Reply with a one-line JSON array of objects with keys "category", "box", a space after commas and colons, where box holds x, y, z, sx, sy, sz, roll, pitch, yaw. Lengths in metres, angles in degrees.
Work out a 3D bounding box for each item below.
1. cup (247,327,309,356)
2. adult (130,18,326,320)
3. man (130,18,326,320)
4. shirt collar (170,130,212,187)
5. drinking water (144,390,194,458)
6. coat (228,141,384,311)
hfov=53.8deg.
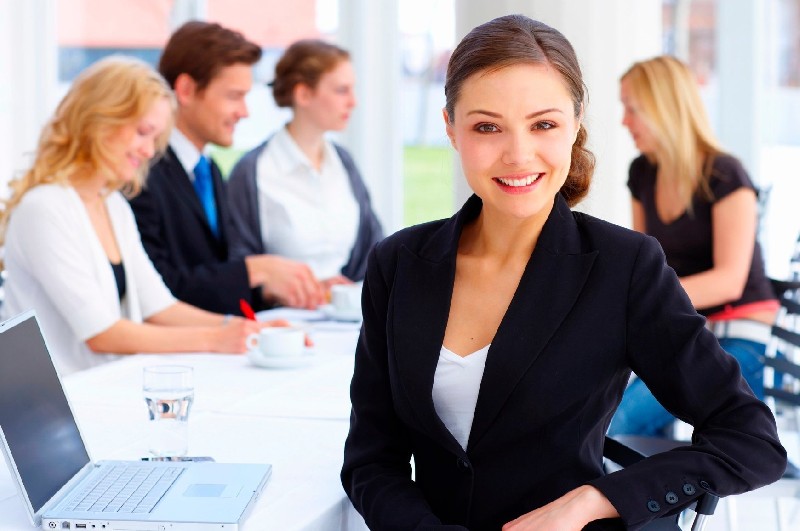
[{"category": "cup", "box": [-0.382, 0.234, 2.421, 0.126, 0.056, 0.096, -1, 3, 1]}, {"category": "adult", "box": [-0.784, -0.415, 3.567, 1.038, 1.399, 0.876, -1, 7, -8]}, {"category": "man", "box": [-0.550, -0.412, 3.599, 1.038, 1.399, 0.876, -1, 7, -8]}, {"category": "shirt collar", "box": [-0.837, -0.416, 3.064, 0.087, 0.172, 0.127, -32, -7, 24]}, {"category": "drinking water", "box": [-0.521, 0.355, 1.814, 0.126, 0.154, 0.132, -1, 1, -18]}, {"category": "coat", "box": [-0.399, -0.143, 3.155, 0.694, 0.670, 0.372, -3, 2, -39]}]
